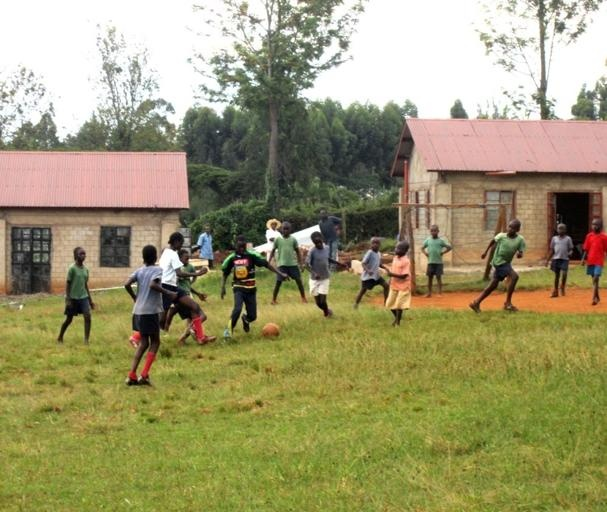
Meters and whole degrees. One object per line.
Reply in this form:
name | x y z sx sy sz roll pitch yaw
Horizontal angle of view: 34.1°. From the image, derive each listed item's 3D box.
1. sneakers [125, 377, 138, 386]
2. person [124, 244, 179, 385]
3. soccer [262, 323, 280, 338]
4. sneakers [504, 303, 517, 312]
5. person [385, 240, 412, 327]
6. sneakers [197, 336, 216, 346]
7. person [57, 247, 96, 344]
sneakers | -2.546 1.864 14.700 0.071 0.095 0.211 2 2 19
person | -2.356 0.852 14.956 0.711 2.044 0.919 -4 12 -8
soccer | -0.573 1.277 17.425 0.318 0.157 0.496 -3 13 -3
sneakers | 3.857 0.948 18.444 0.219 0.218 0.108 -11 -10 44
person | 1.661 0.513 17.549 0.420 1.551 0.965 -1 12 5
sneakers | -1.638 1.429 16.963 0.321 0.143 0.266 -5 13 -10
person | -3.990 0.685 17.328 0.622 1.700 0.747 -6 12 -15
